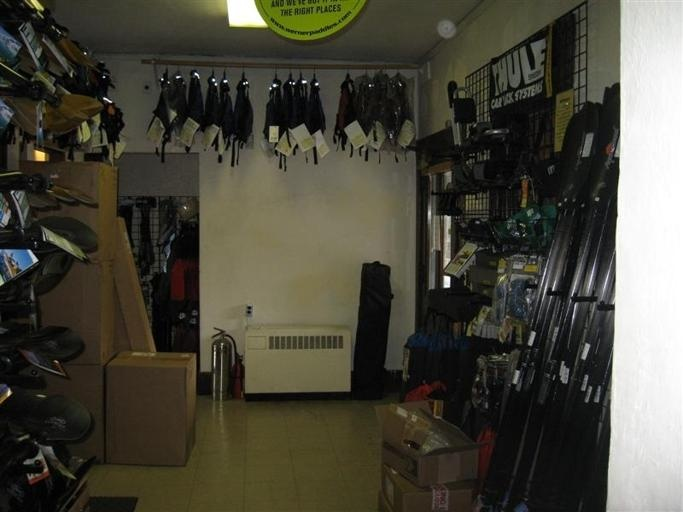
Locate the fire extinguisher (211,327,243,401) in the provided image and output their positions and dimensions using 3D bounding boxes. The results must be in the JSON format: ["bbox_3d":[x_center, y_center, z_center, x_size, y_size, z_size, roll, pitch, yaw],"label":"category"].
[{"bbox_3d":[-1.120,1.071,5.417,0.245,0.752,0.269,2,5,-9],"label":"fire extinguisher"}]
